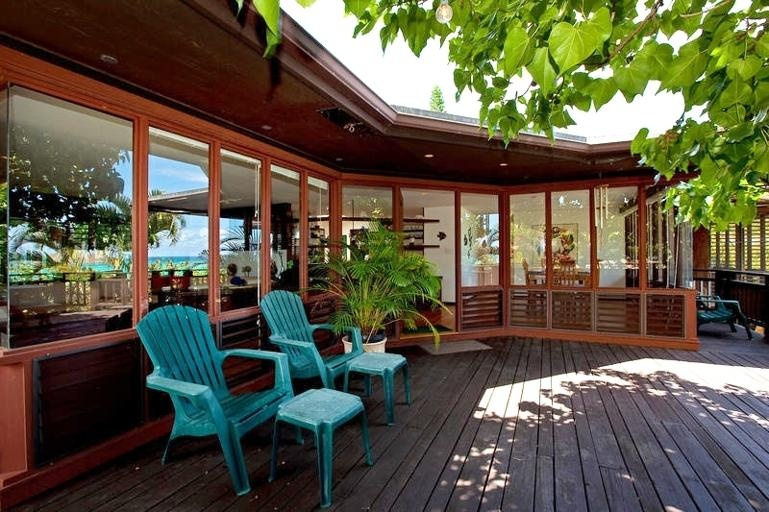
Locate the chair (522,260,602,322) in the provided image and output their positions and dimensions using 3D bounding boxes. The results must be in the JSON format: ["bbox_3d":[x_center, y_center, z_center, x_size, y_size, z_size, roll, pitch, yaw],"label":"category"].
[{"bbox_3d":[2.790,0.618,7.782,0.996,0.725,1.008,0,-2,18],"label":"chair"}]

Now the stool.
[{"bbox_3d":[-0.404,1.230,3.730,0.720,0.606,1.741,0,5,21],"label":"stool"}]

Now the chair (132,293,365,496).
[{"bbox_3d":[-0.911,1.037,3.876,1.961,1.274,1.149,-1,0,29],"label":"chair"}]

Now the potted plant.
[{"bbox_3d":[-0.170,0.304,6.050,1.667,1.412,1.646,1,-1,-4],"label":"potted plant"}]
